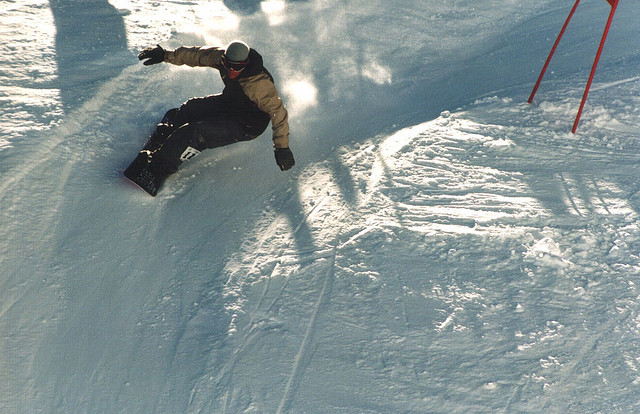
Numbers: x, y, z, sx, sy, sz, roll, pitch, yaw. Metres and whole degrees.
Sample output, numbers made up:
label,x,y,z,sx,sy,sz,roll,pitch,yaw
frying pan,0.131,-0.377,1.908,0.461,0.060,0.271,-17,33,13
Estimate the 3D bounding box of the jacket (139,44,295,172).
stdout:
label,x,y,z,sx,sy,sz,roll,pitch,yaw
jacket,-1.552,-1.713,14.370,2.115,2.682,0.918,9,61,36
